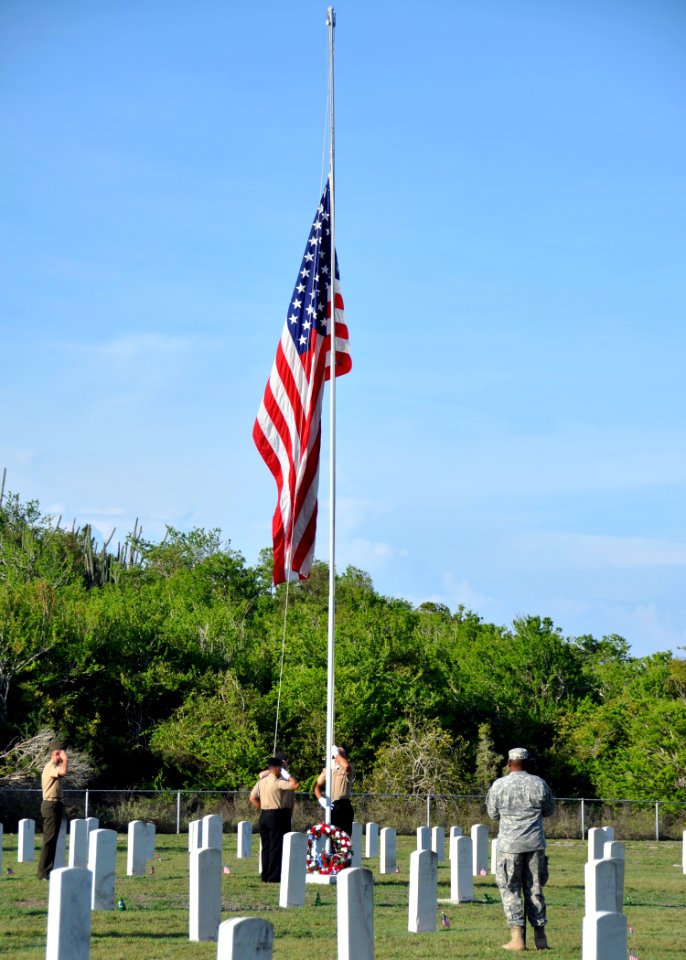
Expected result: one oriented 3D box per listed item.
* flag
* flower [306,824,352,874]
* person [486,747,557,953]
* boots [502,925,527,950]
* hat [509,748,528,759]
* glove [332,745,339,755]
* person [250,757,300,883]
[{"bbox_3d":[-0.574,-1.471,26.506,1.164,5.754,0.683,-4,-11,20],"label":"flag"},{"bbox_3d":[-0.213,4.883,24.417,0.580,0.675,0.956,5,-12,-24],"label":"flower"},{"bbox_3d":[1.901,3.912,19.716,0.676,2.128,0.718,-1,-11,5],"label":"person"},{"bbox_3d":[1.810,4.848,19.569,0.248,0.234,0.771,-1,-12,5],"label":"boots"},{"bbox_3d":[1.901,2.981,20.176,0.199,0.148,0.208,-3,-4,16],"label":"hat"},{"bbox_3d":[-0.105,3.621,24.800,0.089,0.140,0.037,4,-1,34],"label":"glove"},{"bbox_3d":[-0.936,4.563,24.922,0.563,1.689,1.190,1,-11,-3],"label":"person"}]
